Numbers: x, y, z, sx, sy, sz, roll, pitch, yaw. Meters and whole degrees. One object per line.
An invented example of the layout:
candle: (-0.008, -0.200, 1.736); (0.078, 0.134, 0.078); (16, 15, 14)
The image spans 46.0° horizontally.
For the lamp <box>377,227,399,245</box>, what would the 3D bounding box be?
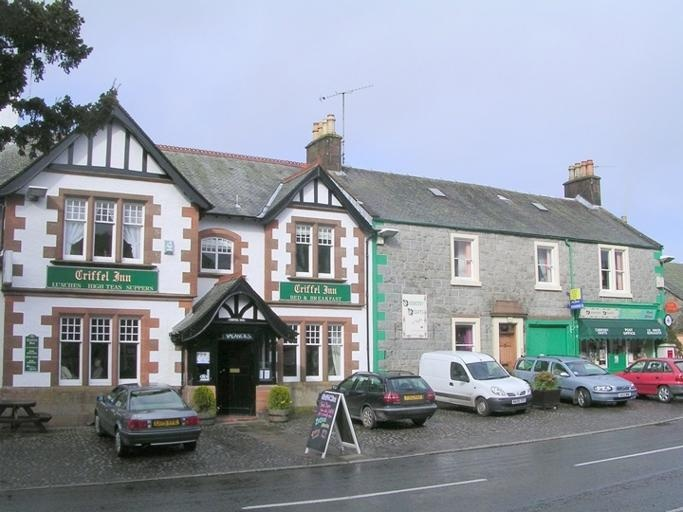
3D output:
lamp: (1.894, -0.847, 33.261); (0.920, 0.919, 0.636); (6, -7, -45)

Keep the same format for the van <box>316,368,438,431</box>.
van: (1.616, 4.751, 27.031); (1.648, 1.218, 3.639); (3, -4, -26)

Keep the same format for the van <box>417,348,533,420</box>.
van: (4.951, 4.774, 30.532); (2.193, 1.860, 3.785); (3, -8, -35)

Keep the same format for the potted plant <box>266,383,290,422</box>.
potted plant: (-2.327, 5.223, 28.748); (0.992, 1.277, 1.018); (-1, -11, 11)

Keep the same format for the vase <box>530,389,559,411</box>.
vase: (7.868, 5.472, 31.207); (0.837, 0.799, 0.845); (0, -1, -18)

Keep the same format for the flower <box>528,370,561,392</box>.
flower: (7.873, 4.793, 31.105); (0.838, 0.733, 0.731); (0, -7, -6)

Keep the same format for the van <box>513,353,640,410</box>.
van: (9.285, 4.886, 32.494); (2.073, 1.485, 3.993); (3, -5, -33)

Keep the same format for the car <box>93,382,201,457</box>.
car: (-5.802, 4.728, 23.419); (1.957, 1.807, 3.292); (-1, 1, -45)

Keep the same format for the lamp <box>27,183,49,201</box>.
lamp: (-10.357, -2.113, 27.218); (0.705, 0.525, 0.421); (-1, 1, -23)

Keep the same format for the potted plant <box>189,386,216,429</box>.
potted plant: (-4.954, 5.083, 27.577); (1.101, 1.419, 1.113); (-4, -6, 28)
